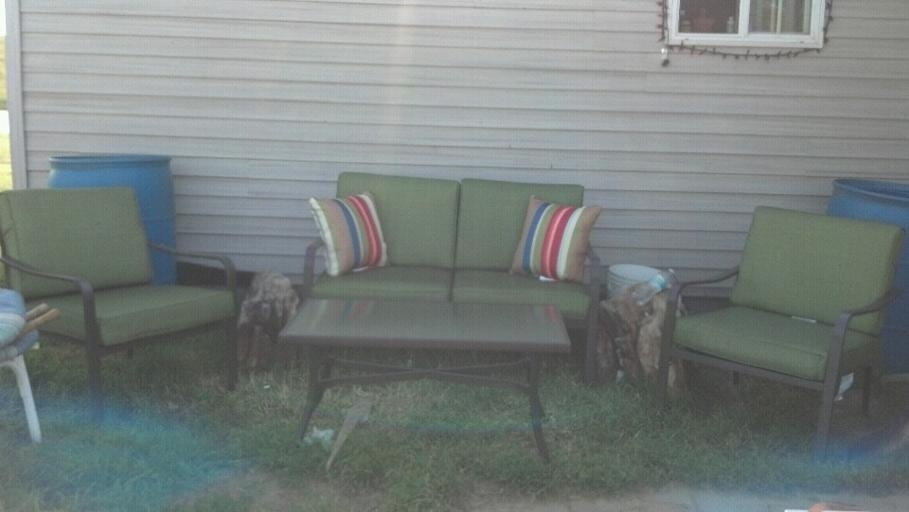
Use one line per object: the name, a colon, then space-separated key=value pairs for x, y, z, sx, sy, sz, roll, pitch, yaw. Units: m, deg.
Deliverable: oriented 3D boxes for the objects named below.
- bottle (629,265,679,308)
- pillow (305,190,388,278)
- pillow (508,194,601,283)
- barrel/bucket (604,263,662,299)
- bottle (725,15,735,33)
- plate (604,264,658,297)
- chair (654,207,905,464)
bottle: x=1.497 y=0.237 z=7.060 sx=0.343 sy=0.103 sz=0.211 roll=-32 pitch=71 yaw=-21
pillow: x=-0.802 y=-0.182 z=7.360 sx=0.506 sy=0.512 sz=0.357 roll=-11 pitch=21 yaw=-34
pillow: x=0.780 y=-0.128 z=7.257 sx=0.598 sy=0.617 sz=0.185 roll=13 pitch=-11 yaw=19
barrel/bucket: x=1.379 y=0.165 z=7.389 sx=0.294 sy=0.186 sz=0.302 roll=0 pitch=8 yaw=0
bottle: x=2.328 y=-1.949 z=7.888 sx=0.081 sy=0.136 sz=0.025 roll=4 pitch=17 yaw=10
plate: x=1.390 y=0.158 z=7.406 sx=0.287 sy=0.209 sz=0.292 roll=1 pitch=8 yaw=13
chair: x=2.304 y=0.408 z=7.141 sx=1.469 sy=1.907 sz=1.753 roll=9 pitch=14 yaw=40
